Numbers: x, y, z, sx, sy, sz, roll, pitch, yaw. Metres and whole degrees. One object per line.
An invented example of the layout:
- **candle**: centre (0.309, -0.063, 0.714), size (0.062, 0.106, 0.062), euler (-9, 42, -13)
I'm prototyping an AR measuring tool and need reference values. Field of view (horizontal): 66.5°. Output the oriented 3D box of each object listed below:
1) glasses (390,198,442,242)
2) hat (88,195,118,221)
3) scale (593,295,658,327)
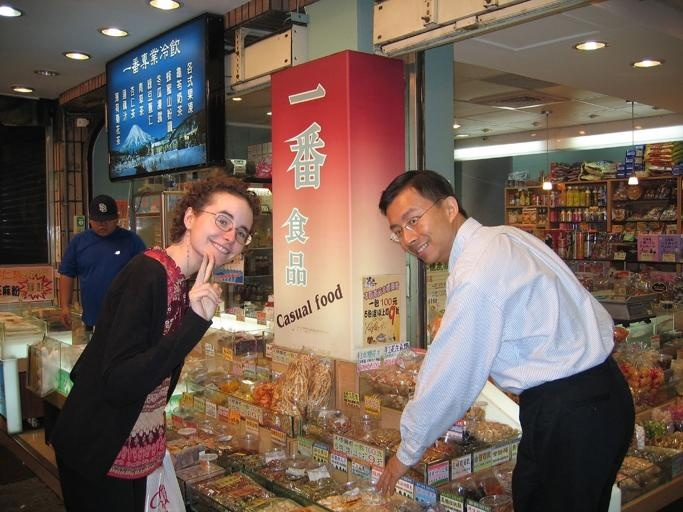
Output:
- **glasses**: centre (0.328, -0.135, 2.240), size (0.180, 0.054, 0.170), euler (-48, 3, -28)
- **hat**: centre (-2.121, -0.415, 4.634), size (0.176, 0.146, 0.256), euler (-2, 23, -26)
- **scale**: centre (2.422, 0.441, 4.533), size (0.505, 0.237, 0.536), euler (-2, 1, -37)
